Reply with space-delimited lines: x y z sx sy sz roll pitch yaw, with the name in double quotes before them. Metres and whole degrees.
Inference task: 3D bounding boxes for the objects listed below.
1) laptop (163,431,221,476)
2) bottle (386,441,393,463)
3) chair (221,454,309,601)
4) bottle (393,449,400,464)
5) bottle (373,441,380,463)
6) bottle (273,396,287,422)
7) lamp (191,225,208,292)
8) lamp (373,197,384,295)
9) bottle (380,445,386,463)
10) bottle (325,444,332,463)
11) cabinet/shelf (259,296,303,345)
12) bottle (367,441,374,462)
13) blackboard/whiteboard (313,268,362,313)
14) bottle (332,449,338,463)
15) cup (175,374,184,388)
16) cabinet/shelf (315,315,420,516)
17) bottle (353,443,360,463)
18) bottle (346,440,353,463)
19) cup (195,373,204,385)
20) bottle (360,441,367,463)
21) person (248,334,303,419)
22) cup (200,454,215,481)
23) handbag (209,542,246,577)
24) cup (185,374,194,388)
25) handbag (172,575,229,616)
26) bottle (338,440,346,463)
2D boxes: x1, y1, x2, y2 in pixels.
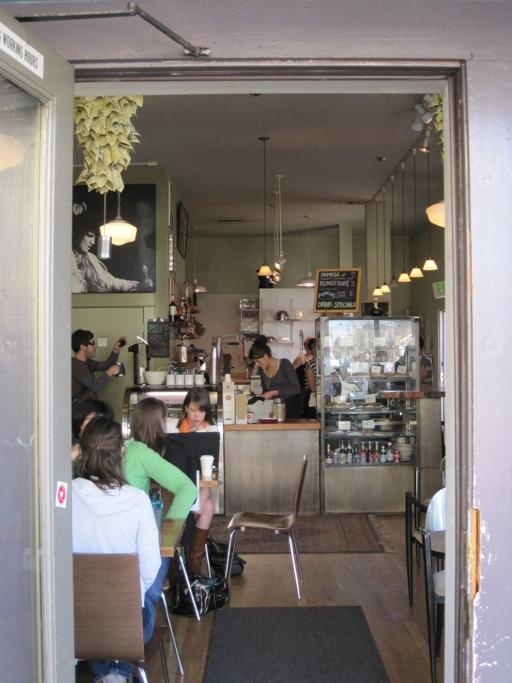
"laptop" -0.369 0.627 3.504 0.313 0.244 0.241 3 15 -10
"bottle" 1.199 0.981 5.477 0.065 0.168 0.143 -1 -2 13
"chair" 0.070 1.146 4.071 0.664 1.214 0.663 4 -7 -1
"bottle" 1.250 1.016 5.431 0.072 0.144 0.079 0 -2 7
"bottle" 1.081 0.979 5.500 0.059 0.162 0.121 -1 -2 12
"bottle" 0.210 0.607 5.441 0.112 0.200 0.167 -1 -2 2
"lamp" -1.089 -1.502 11.320 0.239 0.933 0.349 -1 -2 18
"lamp" 1.938 -1.534 9.665 0.208 1.228 0.741 -1 -2 12
"bottle" 1.136 1.002 5.476 0.049 0.138 0.146 -1 -2 12
"bottle" 0.646 0.980 5.399 0.046 0.160 0.085 -2 -2 33
"cabinet/shelf" 0.474 -0.355 10.728 0.732 1.452 0.439 0 -7 -7
"bottle" 1.028 0.979 5.499 0.074 0.164 0.104 -1 -2 11
"blackboard/whiteboard" 0.875 -0.549 6.571 0.617 0.683 0.072 0 -9 4
"bottle" 0.706 1.005 5.409 0.049 0.108 0.066 -1 -2 7
"cup" -0.680 0.344 5.534 0.083 0.133 0.087 0 -2 0
"cabinet/shelf" 1.029 0.630 5.499 0.895 1.719 0.478 -1 -2 9
"bottle" 0.898 0.991 5.466 0.066 0.148 0.117 -1 -2 8
"bottle" 0.832 0.979 5.451 0.054 0.170 0.106 -1 -2 10
"cup" -0.506 0.333 5.570 0.080 0.096 0.084 1 -2 0
"bottle" 0.967 0.977 5.480 0.065 0.165 0.118 -1 -2 11
"person" 0.184 0.340 5.800 0.477 0.775 0.493 -1 -2 3
"cup" -0.282 0.748 3.673 0.108 0.165 0.114 -1 -2 0
"handbag" -0.189 1.376 3.917 0.163 0.084 0.221 3 0 14
"cup" -0.581 0.349 5.536 0.086 0.166 0.088 -1 -16 0
"handbag" -0.303 1.382 3.337 0.249 0.119 0.186 1 -5 -3
"bottle" 0.766 0.977 5.426 0.064 0.184 0.113 -2 -2 33
